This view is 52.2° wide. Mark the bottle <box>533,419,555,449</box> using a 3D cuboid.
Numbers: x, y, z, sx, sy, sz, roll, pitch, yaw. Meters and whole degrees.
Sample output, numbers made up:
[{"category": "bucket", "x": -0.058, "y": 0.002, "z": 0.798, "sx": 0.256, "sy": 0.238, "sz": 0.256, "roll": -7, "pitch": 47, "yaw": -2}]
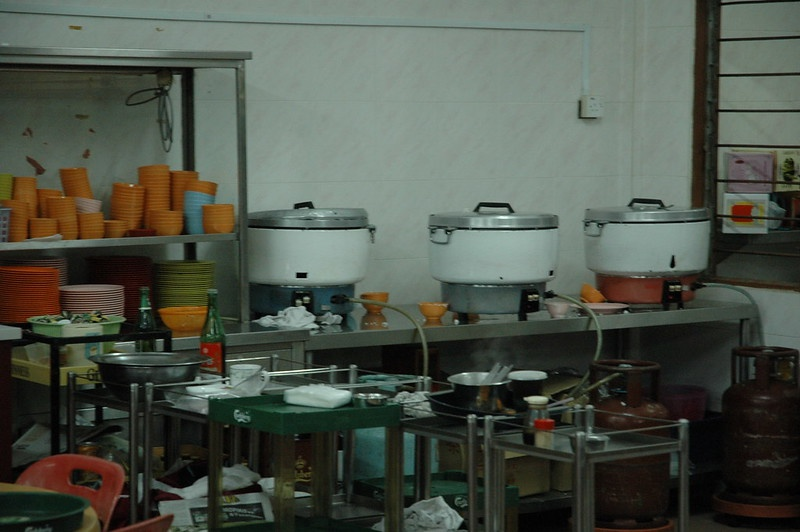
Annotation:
[{"category": "bottle", "x": 0.430, "y": 0.498, "z": 2.438, "sx": 0.060, "sy": 0.081, "sz": 0.098, "roll": -3, "pitch": 0, "yaw": 7}]

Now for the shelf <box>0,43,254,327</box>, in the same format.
[{"category": "shelf", "x": -1.251, "y": -0.367, "z": 3.857, "sx": 1.144, "sy": 1.307, "sz": 0.779, "roll": -2, "pitch": 0, "yaw": -21}]

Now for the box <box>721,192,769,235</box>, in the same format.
[{"category": "box", "x": 2.108, "y": -0.329, "z": 4.994, "sx": 0.442, "sy": 0.210, "sz": 0.302, "roll": 0, "pitch": 0, "yaw": 5}]

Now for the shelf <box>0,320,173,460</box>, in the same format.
[{"category": "shelf", "x": -1.232, "y": 0.442, "z": 3.453, "sx": 0.788, "sy": 0.449, "sz": 0.757, "roll": -2, "pitch": 5, "yaw": -35}]

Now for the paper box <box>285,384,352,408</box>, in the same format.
[{"category": "paper box", "x": -0.243, "y": 0.402, "z": 2.529, "sx": 0.152, "sy": 0.069, "sz": 0.160, "roll": -2, "pitch": 1, "yaw": -38}]

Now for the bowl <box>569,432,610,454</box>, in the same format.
[{"category": "bowl", "x": 0.568, "y": 0.526, "z": 2.430, "sx": 0.127, "sy": 0.022, "sz": 0.088, "roll": 0, "pitch": -1, "yaw": -2}]

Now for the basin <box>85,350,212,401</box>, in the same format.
[{"category": "basin", "x": -0.821, "y": 0.349, "z": 2.798, "sx": 0.302, "sy": 0.060, "sz": 0.268, "roll": 0, "pitch": 5, "yaw": -35}]

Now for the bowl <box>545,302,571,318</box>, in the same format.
[{"category": "bowl", "x": 0.851, "y": 0.238, "z": 4.384, "sx": 0.137, "sy": 0.051, "sz": 0.115, "roll": 0, "pitch": 1, "yaw": 27}]

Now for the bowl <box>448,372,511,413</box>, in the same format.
[{"category": "bowl", "x": 0.261, "y": 0.410, "z": 2.631, "sx": 0.207, "sy": 0.051, "sz": 0.161, "roll": 0, "pitch": 1, "yaw": 20}]
